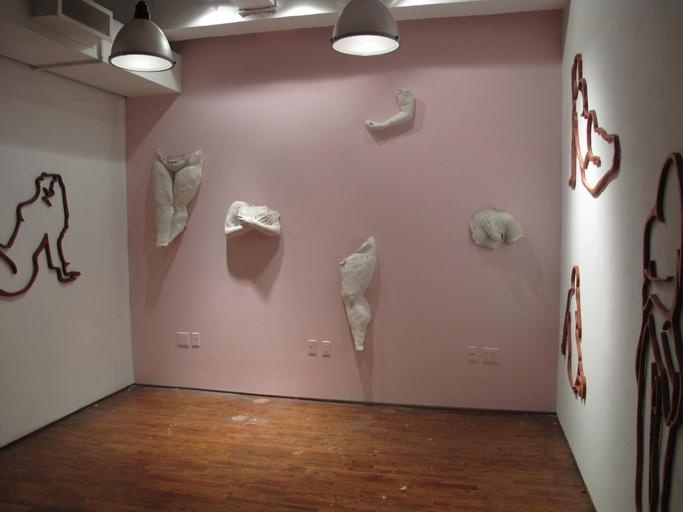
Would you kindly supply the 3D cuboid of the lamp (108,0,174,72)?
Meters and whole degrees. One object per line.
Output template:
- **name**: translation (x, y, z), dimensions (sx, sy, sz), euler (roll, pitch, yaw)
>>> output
- **lamp**: translation (-1.236, -1.386, 2.964), dimensions (0.387, 0.434, 0.295), euler (-2, 9, -11)
